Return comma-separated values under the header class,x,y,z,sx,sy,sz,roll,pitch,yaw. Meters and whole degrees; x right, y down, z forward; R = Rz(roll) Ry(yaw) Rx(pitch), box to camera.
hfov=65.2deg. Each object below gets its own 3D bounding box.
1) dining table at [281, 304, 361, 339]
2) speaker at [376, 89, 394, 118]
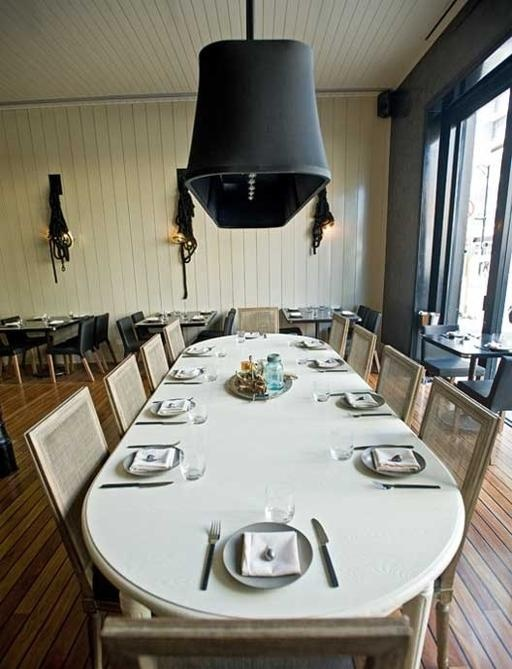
class,x,y,z,sx,sy,sz,roll,pitch,yaw
dining table,0.700,-0.226,4.805,0.545,0.577,0.568,-2,11,-6
speaker,1.528,-2.716,4.748,0.060,0.276,0.235,-5,18,-15
